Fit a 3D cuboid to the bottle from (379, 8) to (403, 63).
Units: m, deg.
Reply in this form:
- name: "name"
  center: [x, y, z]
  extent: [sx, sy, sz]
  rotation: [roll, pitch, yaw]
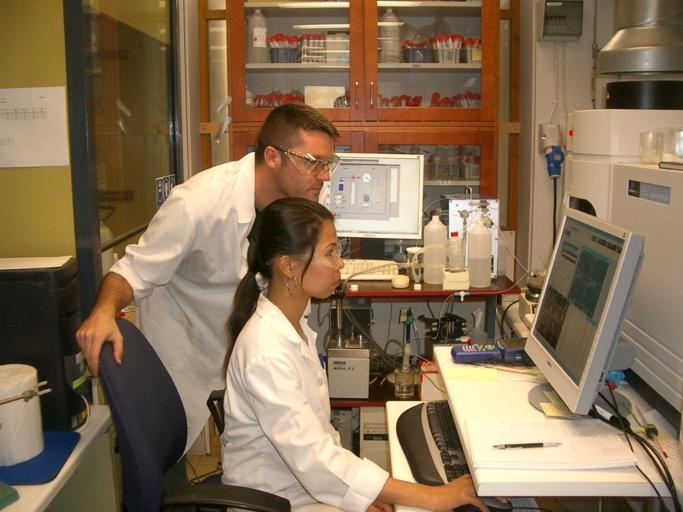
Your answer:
- name: "bottle"
  center: [0.302, -1.365, 3.688]
  extent: [0.147, 0.315, 0.049]
  rotation: [0, 10, 4]

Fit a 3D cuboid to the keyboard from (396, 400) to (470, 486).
- name: "keyboard"
  center: [0.293, 0.610, 1.937]
  extent: [0.197, 0.069, 0.382]
  rotation: [5, 27, -5]

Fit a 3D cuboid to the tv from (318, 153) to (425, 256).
- name: "tv"
  center: [0.175, -0.310, 3.286]
  extent: [0.549, 0.481, 0.053]
  rotation: [1, 10, 4]

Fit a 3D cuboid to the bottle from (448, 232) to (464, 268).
- name: "bottle"
  center: [0.606, -0.030, 3.196]
  extent: [0.052, 0.164, 0.159]
  rotation: [0, 8, 2]

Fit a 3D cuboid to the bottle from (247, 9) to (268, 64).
- name: "bottle"
  center: [-0.518, -1.363, 3.709]
  extent: [0.133, 0.319, 0.064]
  rotation: [-2, 10, -8]
